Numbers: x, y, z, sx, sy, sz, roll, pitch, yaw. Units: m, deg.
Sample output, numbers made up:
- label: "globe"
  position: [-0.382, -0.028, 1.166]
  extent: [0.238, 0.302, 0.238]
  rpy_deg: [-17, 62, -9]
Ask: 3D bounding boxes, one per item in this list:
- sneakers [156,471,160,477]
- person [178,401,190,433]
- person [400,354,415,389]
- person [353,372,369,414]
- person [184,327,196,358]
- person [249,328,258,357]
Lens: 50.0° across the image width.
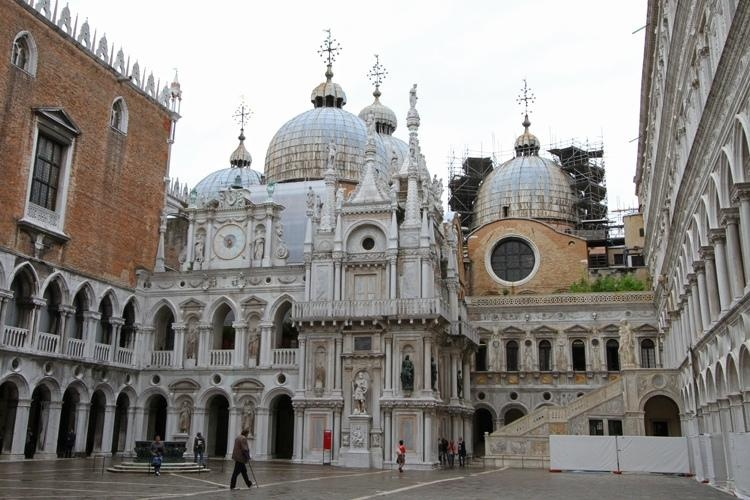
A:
- label: "sneakers"
  position: [-10.172, 10.379, 37.553]
  extent: [0.253, 0.270, 0.255]
  rpy_deg: [-2, -1, -25]
- label: "person"
  position: [-12.531, 10.851, 52.837]
  extent: [0.822, 1.986, 0.215]
  rpy_deg: [-9, -19, 28]
- label: "person"
  position: [1.923, 7.361, 48.636]
  extent: [0.853, 2.124, 0.431]
  rpy_deg: [-1, -16, 1]
- label: "person"
  position: [-0.930, 8.628, 48.915]
  extent: [0.956, 2.649, 0.682]
  rpy_deg: [-1, -16, 2]
- label: "person"
  position: [-12.341, 6.170, 53.916]
  extent: [0.931, 2.086, 0.211]
  rpy_deg: [-7, -18, 23]
- label: "person"
  position: [-8.029, 6.064, 52.935]
  extent: [0.833, 2.132, 0.228]
  rpy_deg: [-7, -17, 20]
